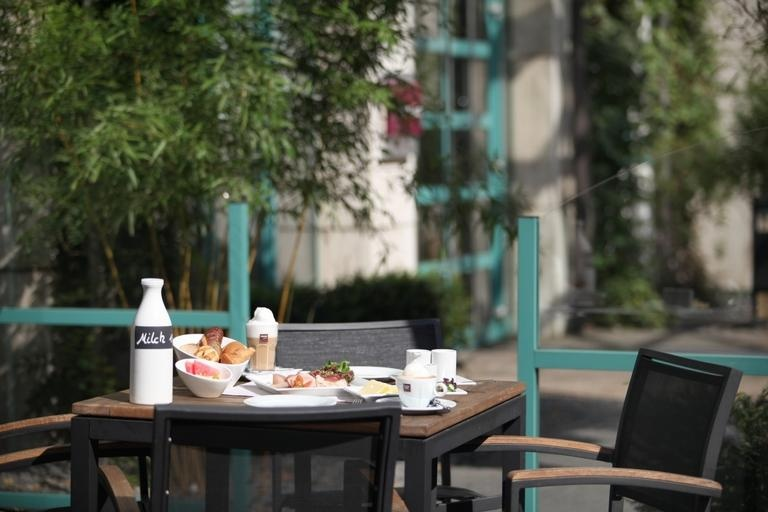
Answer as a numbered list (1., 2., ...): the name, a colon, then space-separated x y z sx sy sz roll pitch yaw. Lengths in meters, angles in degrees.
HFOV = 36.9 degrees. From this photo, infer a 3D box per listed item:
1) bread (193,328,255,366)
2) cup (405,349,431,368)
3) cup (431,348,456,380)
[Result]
1. bread: -0.595 0.348 4.287 0.137 0.091 0.135 16 -4 -38
2. cup: 0.137 0.383 4.373 0.092 0.059 0.187 1 -1 3
3. cup: 0.238 0.406 4.397 0.103 0.125 0.073 -1 -2 17
